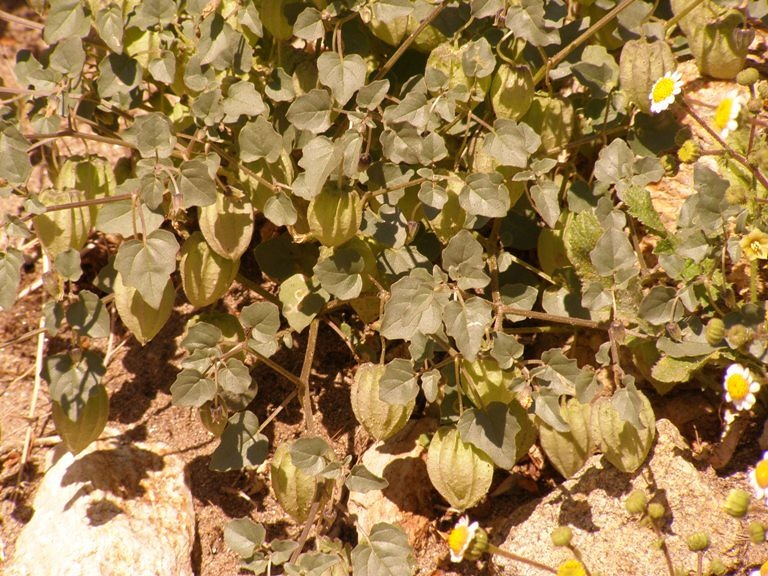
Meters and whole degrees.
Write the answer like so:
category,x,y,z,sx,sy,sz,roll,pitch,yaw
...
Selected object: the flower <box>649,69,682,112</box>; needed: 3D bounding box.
category,x,y,z,sx,sy,sz,roll,pitch,yaw
flower,1.152,-0.789,3.222,0.103,0.160,0.140,3,40,0
